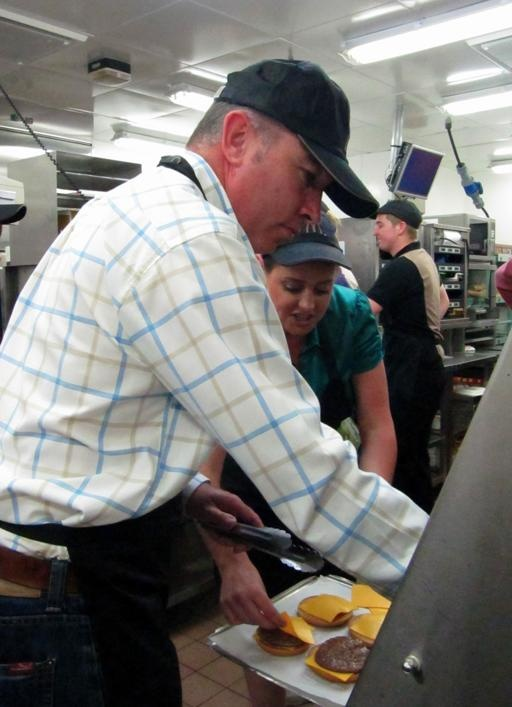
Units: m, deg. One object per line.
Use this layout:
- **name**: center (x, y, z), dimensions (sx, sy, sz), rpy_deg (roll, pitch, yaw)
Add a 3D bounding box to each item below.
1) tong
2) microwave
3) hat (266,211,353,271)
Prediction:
- **tong**: center (0.010, 0.233, 0.701), dimensions (0.156, 0.032, 0.028), rpy_deg (10, 7, 21)
- **microwave**: center (2.057, -1.220, 5.730), dimensions (0.578, 0.603, 1.027), rpy_deg (3, 5, 34)
- **hat**: center (0.130, -0.253, 1.300), dimensions (0.133, 0.100, 0.175), rpy_deg (-6, 27, -15)
